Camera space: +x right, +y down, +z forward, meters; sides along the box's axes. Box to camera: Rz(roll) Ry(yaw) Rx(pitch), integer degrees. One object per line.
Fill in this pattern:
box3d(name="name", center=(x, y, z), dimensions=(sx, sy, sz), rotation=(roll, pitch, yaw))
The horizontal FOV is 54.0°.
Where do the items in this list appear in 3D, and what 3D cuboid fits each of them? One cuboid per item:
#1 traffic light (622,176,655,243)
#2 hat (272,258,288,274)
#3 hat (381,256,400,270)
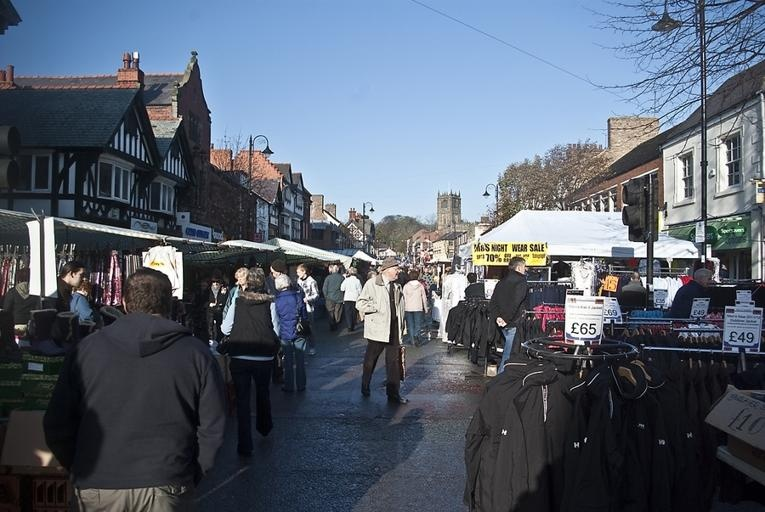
box3d(name="traffic light", center=(4.014, -0.727, 11.689), dimensions=(0.677, 1.036, 0.476), rotation=(10, 10, 42))
box3d(name="hat", center=(-1.762, 0.180, 12.900), dimensions=(0.221, 0.238, 0.294), rotation=(20, -2, -9))
box3d(name="hat", center=(0.136, 0.121, 12.656), dimensions=(0.338, 0.174, 0.466), rotation=(-2, 1, 4))
